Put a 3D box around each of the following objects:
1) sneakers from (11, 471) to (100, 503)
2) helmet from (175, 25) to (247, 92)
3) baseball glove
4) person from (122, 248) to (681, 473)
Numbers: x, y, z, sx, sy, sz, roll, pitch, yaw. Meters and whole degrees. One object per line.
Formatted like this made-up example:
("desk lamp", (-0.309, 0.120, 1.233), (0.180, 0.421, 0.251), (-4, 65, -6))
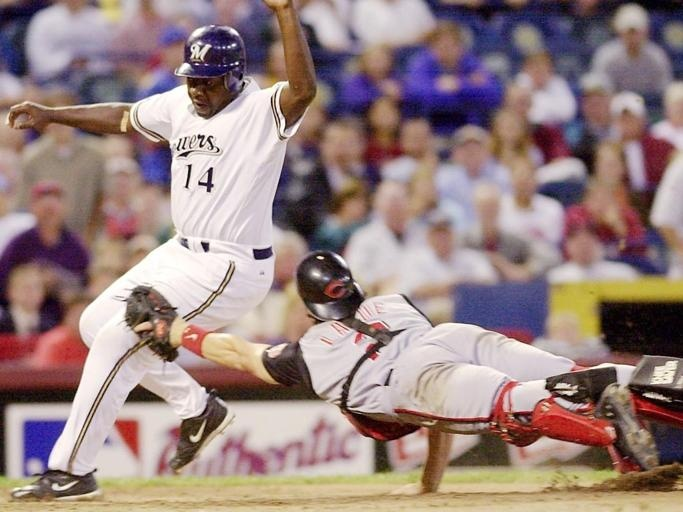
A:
("sneakers", (-1.933, 1.573, 8.807), (0.640, 0.207, 0.193), (2, 85, -11))
("helmet", (-0.942, -1.388, 8.972), (0.467, 0.419, 0.571), (14, 20, 12))
("baseball glove", (-1.269, 0.456, 8.759), (0.494, 0.321, 0.189), (52, 50, -3))
("person", (0.474, 0.643, 8.647), (2.865, 0.820, 1.612), (1, 8, 20))
